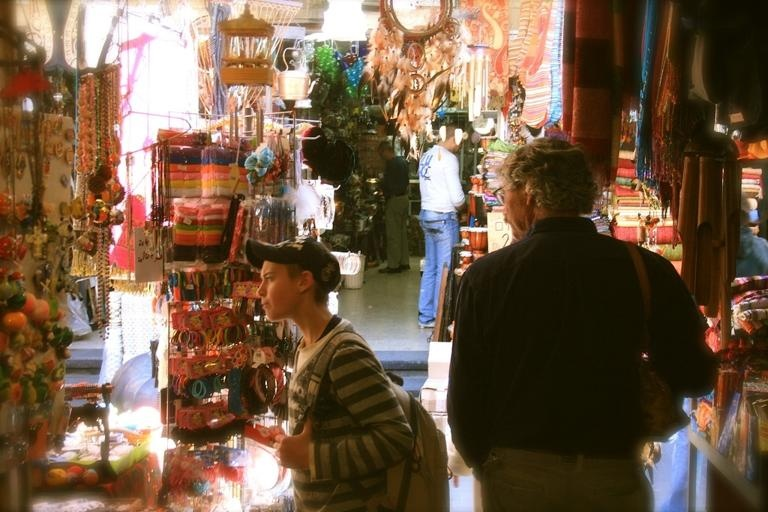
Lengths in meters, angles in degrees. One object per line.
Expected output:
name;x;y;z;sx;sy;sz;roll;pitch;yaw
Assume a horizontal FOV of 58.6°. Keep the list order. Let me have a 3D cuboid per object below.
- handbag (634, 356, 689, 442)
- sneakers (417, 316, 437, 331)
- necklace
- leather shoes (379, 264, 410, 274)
handbag;0.977;0.511;2.452;0.200;0.292;0.078;-21;1;8
sneakers;0.446;0.720;7.368;0.207;0.210;0.102;2;-1;-6
necklace;-1.577;-0.344;3.356;0.782;1.154;0.281;3;3;26
leather shoes;0.156;0.200;10.711;0.485;0.208;0.165;2;1;-17
